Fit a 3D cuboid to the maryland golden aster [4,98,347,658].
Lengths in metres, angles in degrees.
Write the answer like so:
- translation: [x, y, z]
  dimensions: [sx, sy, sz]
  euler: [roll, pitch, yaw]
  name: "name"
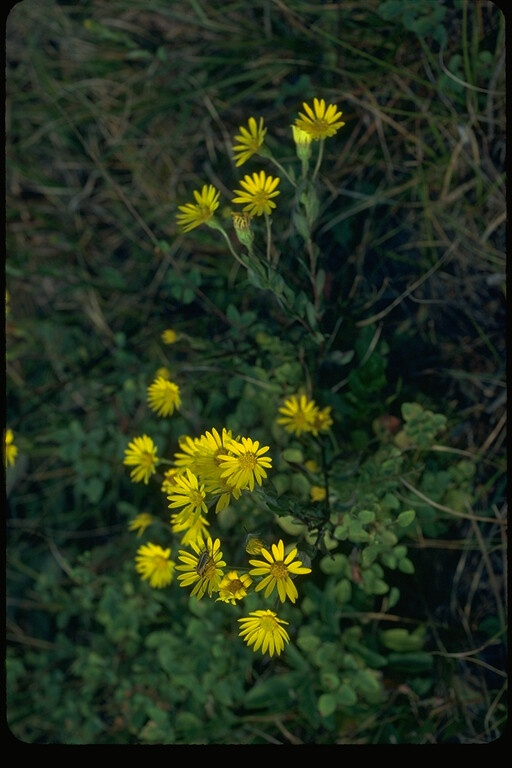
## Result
- translation: [-0.022, -0.075, 1.165]
  dimensions: [0.604, 0.191, 0.924]
  euler: [0, 77, 0]
  name: "maryland golden aster"
